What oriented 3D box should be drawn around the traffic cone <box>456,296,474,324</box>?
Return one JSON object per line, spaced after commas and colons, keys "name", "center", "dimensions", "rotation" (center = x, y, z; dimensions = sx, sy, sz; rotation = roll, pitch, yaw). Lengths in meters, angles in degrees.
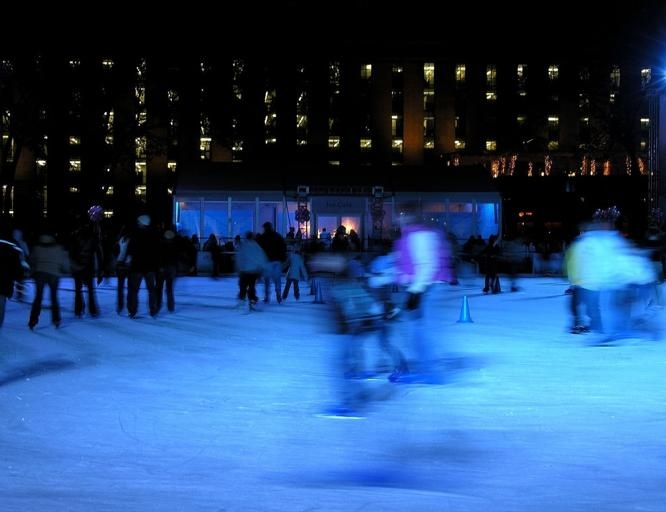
{"name": "traffic cone", "center": [2.806, 1.139, 17.166], "dimensions": [0.417, 0.602, 0.423], "rotation": [3, 14, 24]}
